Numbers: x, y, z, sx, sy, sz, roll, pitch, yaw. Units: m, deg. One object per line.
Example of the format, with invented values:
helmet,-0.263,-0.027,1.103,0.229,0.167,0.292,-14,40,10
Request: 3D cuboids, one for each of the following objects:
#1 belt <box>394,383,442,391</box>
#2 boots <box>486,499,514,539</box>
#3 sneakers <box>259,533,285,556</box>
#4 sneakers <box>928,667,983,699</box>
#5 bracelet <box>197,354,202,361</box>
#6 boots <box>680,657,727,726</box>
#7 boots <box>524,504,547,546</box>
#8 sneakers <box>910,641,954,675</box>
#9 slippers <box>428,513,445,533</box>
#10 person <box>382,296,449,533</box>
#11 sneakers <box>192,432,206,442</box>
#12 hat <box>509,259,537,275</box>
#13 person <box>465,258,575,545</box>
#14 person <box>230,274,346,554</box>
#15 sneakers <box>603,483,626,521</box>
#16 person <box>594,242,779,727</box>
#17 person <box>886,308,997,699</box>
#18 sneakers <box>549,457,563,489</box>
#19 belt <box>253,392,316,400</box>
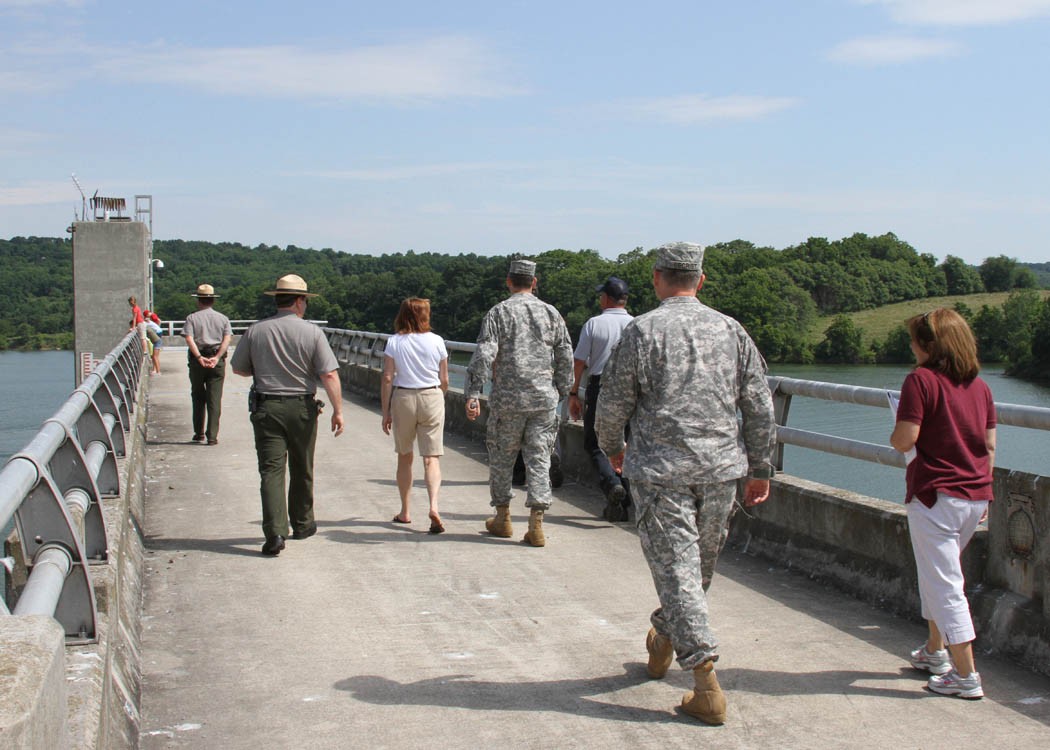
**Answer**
belt,-0.872,0.113,9.499,0.446,0.051,0.124,-2,7,-23
boots,-0.240,1.174,9.387,0.177,0.296,0.333,-2,16,-17
sneakers,-1.918,1.282,8.598,0.185,0.152,0.251,-1,7,-12
sneakers,2.276,1.633,6.060,0.323,0.136,0.116,2,5,23
bracelet,-4.122,-0.219,14.314,0.023,0.071,0.068,-35,25,26
boots,0.901,1.579,5.781,0.201,0.321,0.362,-4,-5,-20
boots,0.079,1.203,9.080,0.184,0.312,0.274,1,7,0
sneakers,2.231,1.560,6.239,0.104,0.103,0.246,-4,2,-12
slippers,-0.732,1.227,9.293,0.086,0.094,0.231,-9,-20,-4
person,-0.930,0.334,9.542,0.537,1.935,0.899,0,8,-6
sneakers,-4.275,0.811,14.770,0.166,0.138,0.092,1,3,4
hat,-0.037,-0.886,9.403,0.173,0.079,0.172,1,2,39
person,-0.054,0.209,9.262,0.702,2.240,0.750,3,8,17
person,-1.904,0.271,9.117,0.840,2.128,1.508,-1,7,-10
sneakers,0.794,1.143,10.109,0.141,0.351,0.162,8,4,-14
person,0.789,0.658,5.850,0.919,2.106,0.717,2,8,10
person,2.222,0.674,6.027,0.531,2.039,0.527,5,9,27
sneakers,0.323,1.011,11.686,0.137,0.309,0.133,-3,11,-15
belt,-1.851,0.159,8.675,0.452,0.046,0.149,-1,6,-18
